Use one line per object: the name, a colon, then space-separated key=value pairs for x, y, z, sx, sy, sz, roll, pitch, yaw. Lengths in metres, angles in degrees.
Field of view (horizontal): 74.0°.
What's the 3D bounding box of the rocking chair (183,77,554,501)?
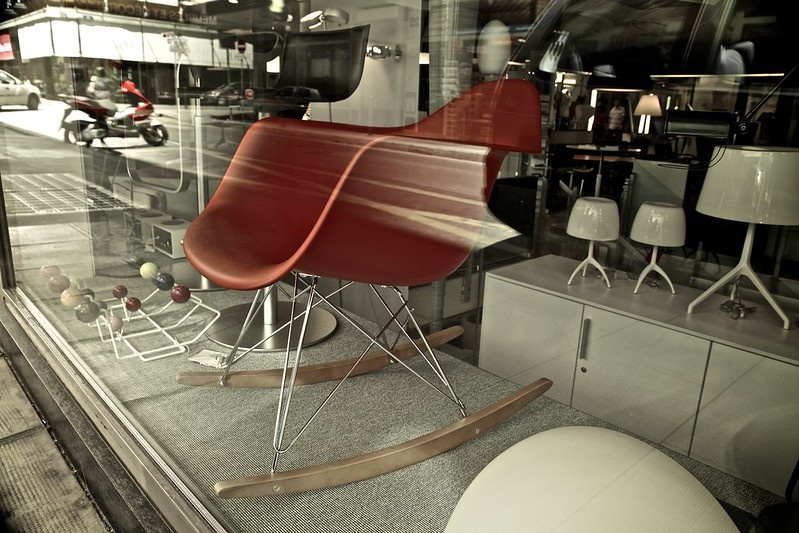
rocking chair: x=-0.124 y=-0.080 z=1.821 sx=1.133 sy=1.048 sz=0.908 roll=-9 pitch=25 yaw=-24
